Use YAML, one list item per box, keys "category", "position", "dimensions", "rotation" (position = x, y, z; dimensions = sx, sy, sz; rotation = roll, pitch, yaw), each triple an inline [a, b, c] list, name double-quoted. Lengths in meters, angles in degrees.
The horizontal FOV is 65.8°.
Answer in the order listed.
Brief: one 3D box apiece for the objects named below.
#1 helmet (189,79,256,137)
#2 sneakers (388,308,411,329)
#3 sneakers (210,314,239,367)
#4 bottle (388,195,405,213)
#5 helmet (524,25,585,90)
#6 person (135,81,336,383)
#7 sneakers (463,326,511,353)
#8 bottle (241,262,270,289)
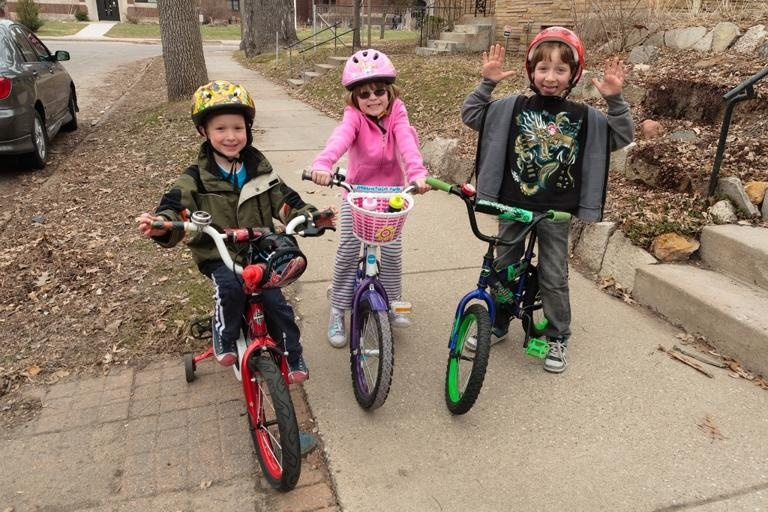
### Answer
- category: "helmet"
  position: [-1.250, -1.140, 4.579]
  dimensions: [0.364, 0.370, 0.446]
  rotation: [-8, 12, -18]
- category: "sneakers"
  position: [0.181, 0.575, 5.409]
  dimensions: [0.121, 0.210, 0.333]
  rotation: [1, -2, -19]
- category: "sneakers"
  position: [-1.264, 0.724, 4.679]
  dimensions: [0.152, 0.474, 0.181]
  rotation: [-11, -20, -25]
- category: "bottle"
  position: [0.100, -0.415, 4.436]
  dimensions: [0.117, 0.122, 0.189]
  rotation: [3, 26, 4]
- category: "helmet"
  position: [1.456, -1.675, 5.031]
  dimensions: [0.461, 0.522, 0.592]
  rotation: [6, 27, 14]
- category: "person"
  position: [-1.079, -0.087, 4.645]
  dimensions: [1.180, 2.365, 0.918]
  rotation: [-4, 26, -6]
- category: "sneakers"
  position: [0.912, 0.725, 5.225]
  dimensions: [0.544, 0.238, 0.204]
  rotation: [3, -8, -29]
- category: "bottle"
  position: [-0.893, 0.123, 4.218]
  dimensions: [0.133, 0.210, 0.208]
  rotation: [29, 13, 9]
